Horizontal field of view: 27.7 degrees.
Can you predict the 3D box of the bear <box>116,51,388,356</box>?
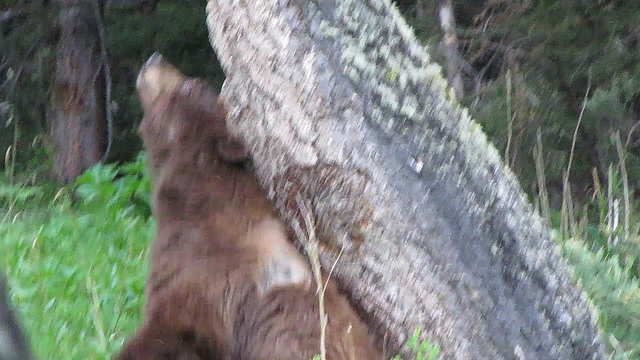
[{"bbox_3d":[-0.664,0.258,11.530,1.507,2.936,1.866,0,2,-18],"label":"bear"}]
